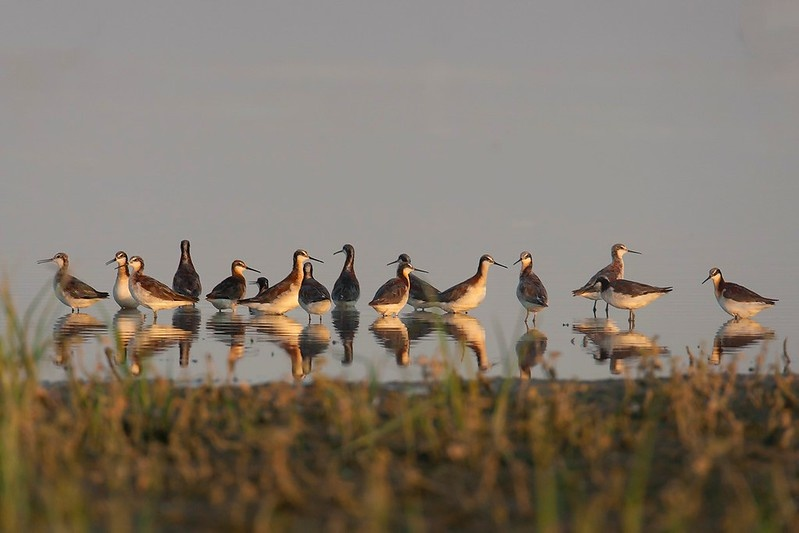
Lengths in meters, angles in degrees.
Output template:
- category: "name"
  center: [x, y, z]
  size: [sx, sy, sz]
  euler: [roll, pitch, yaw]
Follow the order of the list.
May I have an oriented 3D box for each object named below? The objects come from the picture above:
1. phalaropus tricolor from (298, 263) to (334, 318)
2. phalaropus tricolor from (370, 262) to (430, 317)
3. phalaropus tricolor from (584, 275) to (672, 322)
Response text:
- category: "phalaropus tricolor"
  center: [-1.623, 0.450, 21.975]
  size: [0.520, 1.104, 1.256]
  euler: [2, 0, -27]
- category: "phalaropus tricolor"
  center: [-0.136, 0.371, 22.479]
  size: [0.643, 1.230, 1.535]
  euler: [-2, -10, 4]
- category: "phalaropus tricolor"
  center: [4.416, 0.507, 21.747]
  size: [1.547, 1.097, 0.568]
  euler: [-7, -25, 17]
